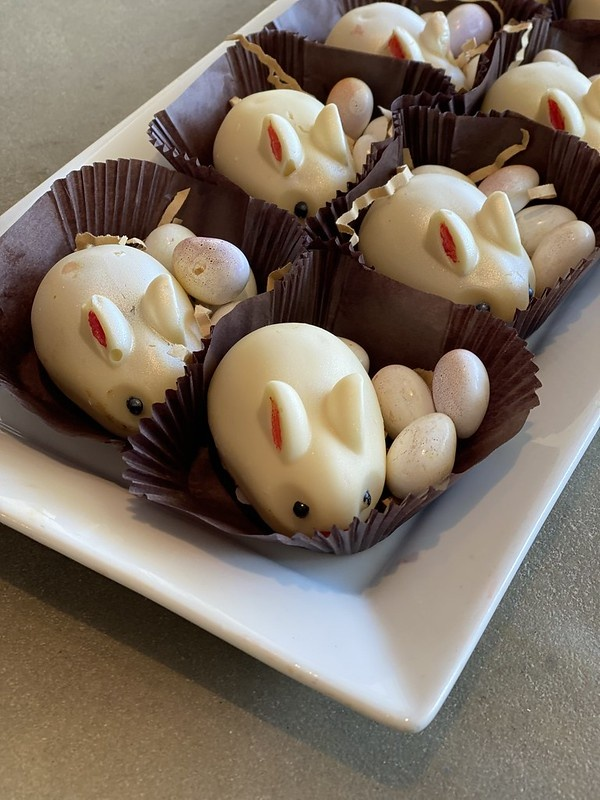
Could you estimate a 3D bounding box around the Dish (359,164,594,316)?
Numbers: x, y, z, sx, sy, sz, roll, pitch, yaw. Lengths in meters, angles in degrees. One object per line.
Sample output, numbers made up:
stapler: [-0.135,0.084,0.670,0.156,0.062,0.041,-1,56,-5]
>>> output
Dish: [0.161,-0.154,0.863,0.224,0.122,0.138,29,67,25]
